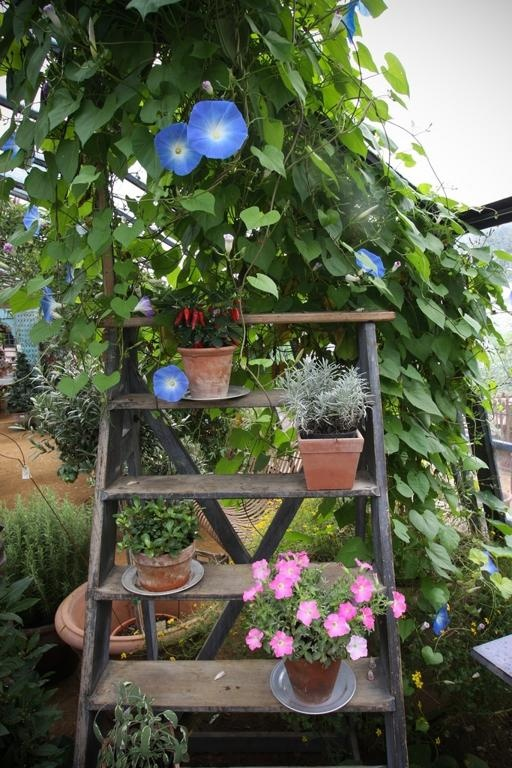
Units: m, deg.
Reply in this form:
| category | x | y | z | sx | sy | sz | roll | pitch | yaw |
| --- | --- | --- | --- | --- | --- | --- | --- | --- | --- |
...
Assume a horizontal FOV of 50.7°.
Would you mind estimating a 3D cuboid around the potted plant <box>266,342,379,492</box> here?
| category | x | y | z | sx | sy | sz | roll | pitch | yaw |
| --- | --- | --- | --- | --- | --- | --- | --- | --- | --- |
| potted plant | 0.163 | 0.073 | 1.360 | 0.273 | 0.343 | 0.298 | -1 | 6 | 1 |

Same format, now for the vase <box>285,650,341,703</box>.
| category | x | y | z | sx | sy | sz | roll | pitch | yaw |
| --- | --- | --- | --- | --- | --- | --- | --- | --- | --- |
| vase | 0.118 | 0.626 | 1.147 | 0.131 | 0.100 | 0.126 | 1 | -5 | -3 |

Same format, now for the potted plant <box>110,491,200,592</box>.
| category | x | y | z | sx | sy | sz | roll | pitch | yaw |
| --- | --- | --- | --- | --- | --- | --- | --- | --- | --- |
| potted plant | -0.228 | 0.353 | 1.325 | 0.222 | 0.230 | 0.205 | 0 | -1 | -8 |
